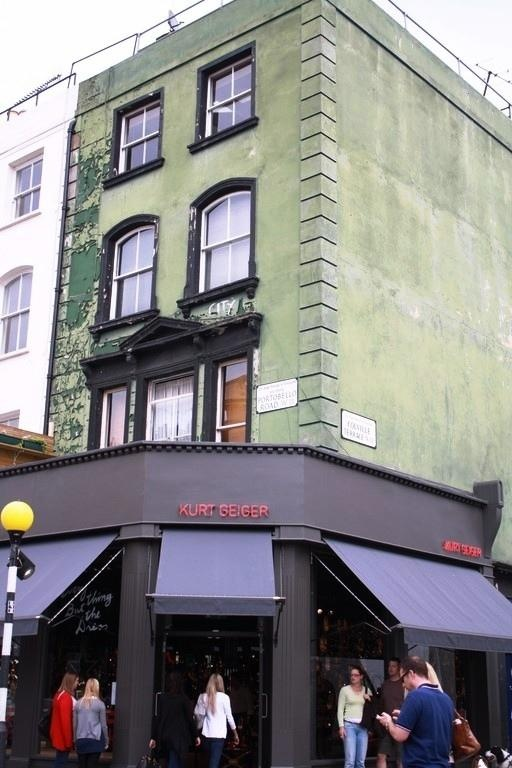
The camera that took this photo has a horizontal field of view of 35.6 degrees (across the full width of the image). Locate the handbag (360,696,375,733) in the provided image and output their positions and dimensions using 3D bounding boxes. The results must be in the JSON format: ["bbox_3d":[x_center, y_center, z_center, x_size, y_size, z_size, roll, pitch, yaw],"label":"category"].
[{"bbox_3d":[1.509,4.433,10.765,0.124,0.525,0.298,-4,-24,33],"label":"handbag"}]

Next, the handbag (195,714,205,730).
[{"bbox_3d":[-0.733,4.489,10.621,0.115,0.228,0.121,24,-39,-35],"label":"handbag"}]
